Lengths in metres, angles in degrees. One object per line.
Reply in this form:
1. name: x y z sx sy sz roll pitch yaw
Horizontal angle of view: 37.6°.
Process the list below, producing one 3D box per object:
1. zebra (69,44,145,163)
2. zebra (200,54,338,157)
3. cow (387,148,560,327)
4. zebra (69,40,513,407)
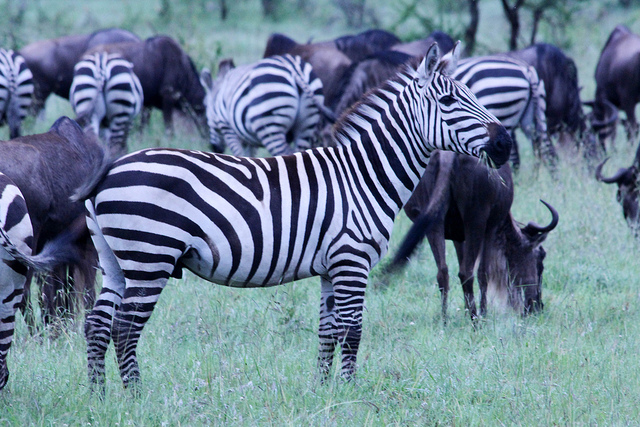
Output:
1. zebra: -3.272 -1.584 14.535 0.864 1.954 3.111 -4 4 -12
2. zebra: -0.946 -1.396 14.329 1.025 2.038 2.887 -10 4 -36
3. cow: 1.869 -0.215 11.517 1.382 2.657 1.271 -3 14 -17
4. zebra: -0.294 0.223 10.752 3.644 3.591 0.995 1 -2 -8
